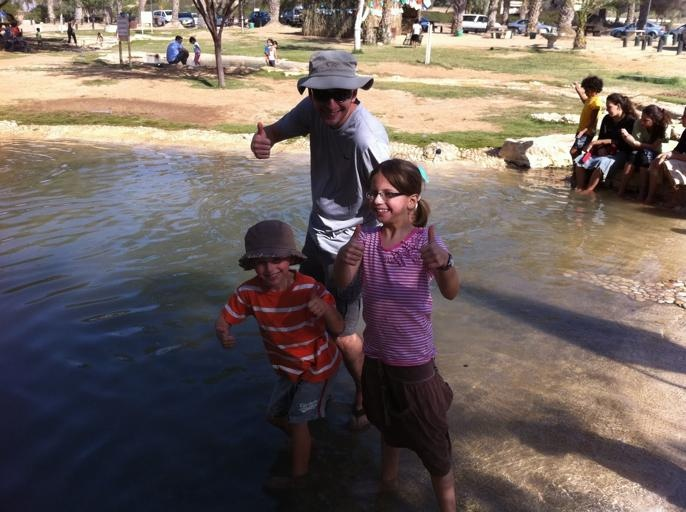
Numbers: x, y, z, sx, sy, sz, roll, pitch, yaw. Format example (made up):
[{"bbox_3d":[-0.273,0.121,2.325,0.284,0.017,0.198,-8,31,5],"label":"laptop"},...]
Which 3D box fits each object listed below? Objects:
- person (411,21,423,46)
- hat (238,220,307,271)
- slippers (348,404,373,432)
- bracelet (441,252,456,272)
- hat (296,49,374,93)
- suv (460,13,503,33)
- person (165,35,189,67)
[{"bbox_3d":[5.041,-15.520,36.010,0.671,1.388,1.107,3,23,1],"label":"person"},{"bbox_3d":[-0.530,-0.062,3.524,0.370,0.194,0.366,-1,-1,-19],"label":"hat"},{"bbox_3d":[0.126,1.325,4.195,0.137,0.137,0.378,0,-2,5],"label":"slippers"},{"bbox_3d":[0.620,0.036,3.047,0.056,0.136,0.225,9,22,15],"label":"bracelet"},{"bbox_3d":[-0.055,-1.328,3.683,0.533,0.264,0.434,0,21,-5],"label":"hat"},{"bbox_3d":[13.972,-24.198,53.682,3.243,1.932,3.765,5,21,7],"label":"suv"},{"bbox_3d":[-8.300,-10.200,25.513,0.959,1.326,2.012,-5,23,-16],"label":"person"}]
